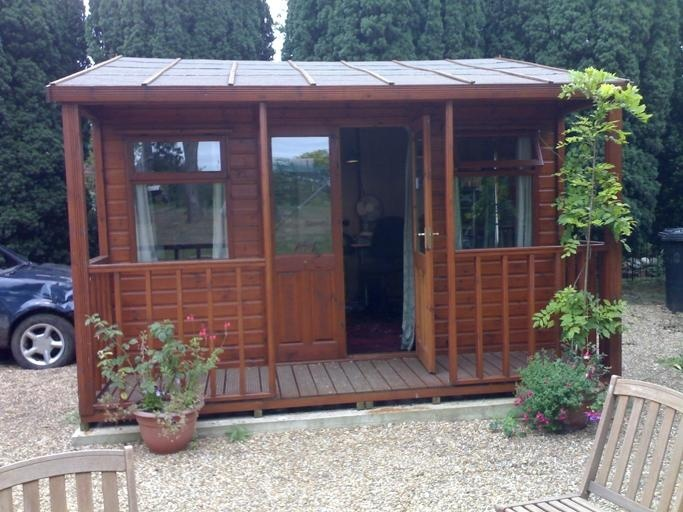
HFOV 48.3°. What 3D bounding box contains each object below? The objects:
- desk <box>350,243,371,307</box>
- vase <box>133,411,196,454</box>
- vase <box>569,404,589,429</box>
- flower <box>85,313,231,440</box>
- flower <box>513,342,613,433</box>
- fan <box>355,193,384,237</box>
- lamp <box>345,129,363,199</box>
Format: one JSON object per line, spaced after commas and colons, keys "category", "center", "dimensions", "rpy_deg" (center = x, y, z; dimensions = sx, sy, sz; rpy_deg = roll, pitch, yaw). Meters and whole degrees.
{"category": "desk", "center": [0.387, 0.374, 12.189], "dimensions": [0.331, 1.030, 0.336], "rpy_deg": [3, 14, 26]}
{"category": "vase", "center": [-1.700, 1.665, 7.211], "dimensions": [0.436, 0.316, 0.453], "rpy_deg": [1, 4, 9]}
{"category": "vase", "center": [2.328, 1.576, 7.545], "dimensions": [0.222, 0.187, 0.221], "rpy_deg": [-3, -1, -2]}
{"category": "flower", "center": [-1.940, 1.057, 7.704], "dimensions": [1.223, 1.107, 1.476], "rpy_deg": [-5, 6, -24]}
{"category": "flower", "center": [2.229, 1.309, 7.636], "dimensions": [0.822, 0.605, 0.816], "rpy_deg": [-10, 7, -40]}
{"category": "fan", "center": [0.462, -0.699, 12.787], "dimensions": [0.462, 0.723, 0.215], "rpy_deg": [-2, 5, 5]}
{"category": "lamp", "center": [0.194, -1.549, 12.799], "dimensions": [0.241, 1.180, 0.218], "rpy_deg": [1, 6, 38]}
